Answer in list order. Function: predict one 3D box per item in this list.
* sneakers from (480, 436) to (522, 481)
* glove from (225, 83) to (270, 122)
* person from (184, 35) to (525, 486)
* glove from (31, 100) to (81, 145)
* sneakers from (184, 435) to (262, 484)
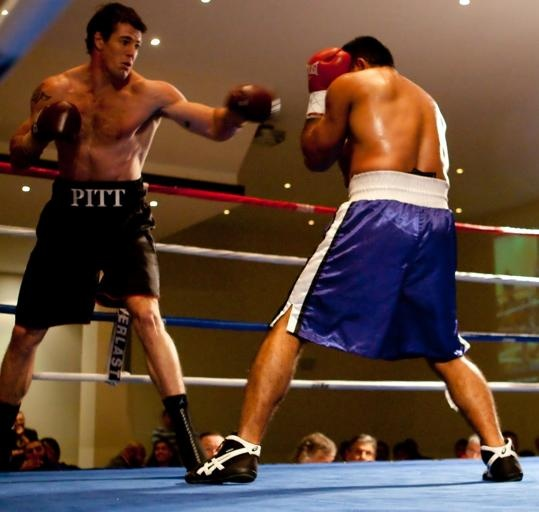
[{"bbox_3d":[0.558,0.501,1.488,0.062,0.072,0.172,-14,-10,5],"label":"sneakers"},{"bbox_3d":[-0.053,-0.396,1.562,0.086,0.085,0.113,-6,26,-33],"label":"glove"},{"bbox_3d":[0.204,0.256,2.164,1.132,1.784,0.786,-6,-28,26],"label":"person"},{"bbox_3d":[-0.532,-0.337,1.507,0.123,0.107,0.093,19,13,30],"label":"glove"},{"bbox_3d":[-0.103,0.459,1.349,0.200,0.093,0.065,-16,-29,27],"label":"sneakers"}]
